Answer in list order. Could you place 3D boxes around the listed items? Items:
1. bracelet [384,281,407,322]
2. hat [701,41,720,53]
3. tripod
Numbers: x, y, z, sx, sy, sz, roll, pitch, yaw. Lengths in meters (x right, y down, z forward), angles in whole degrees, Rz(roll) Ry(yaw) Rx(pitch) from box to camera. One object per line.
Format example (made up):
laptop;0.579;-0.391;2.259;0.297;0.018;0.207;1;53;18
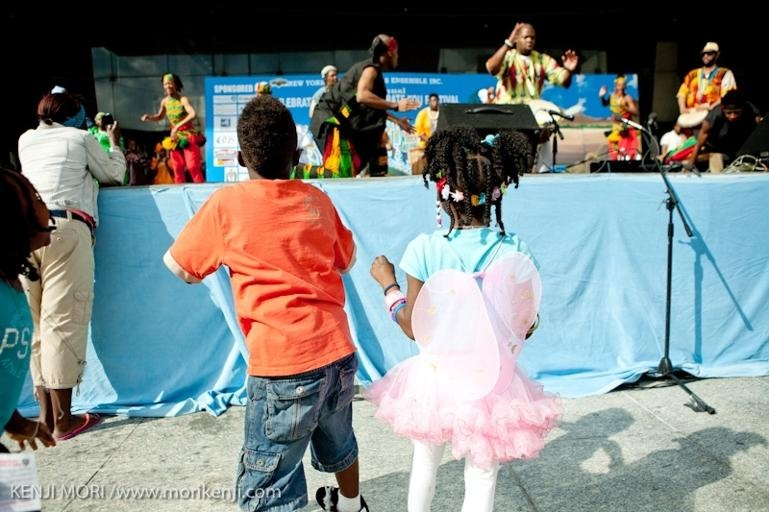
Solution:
bracelet;0.026;0.339;5.935;0.188;0.249;0.258;-3;-17;-7
hat;4.366;-2.769;10.465;0.196;0.116;0.169;0;20;0
tripod;2.784;0.022;7.523;0.619;2.425;1.572;-4;20;-8
